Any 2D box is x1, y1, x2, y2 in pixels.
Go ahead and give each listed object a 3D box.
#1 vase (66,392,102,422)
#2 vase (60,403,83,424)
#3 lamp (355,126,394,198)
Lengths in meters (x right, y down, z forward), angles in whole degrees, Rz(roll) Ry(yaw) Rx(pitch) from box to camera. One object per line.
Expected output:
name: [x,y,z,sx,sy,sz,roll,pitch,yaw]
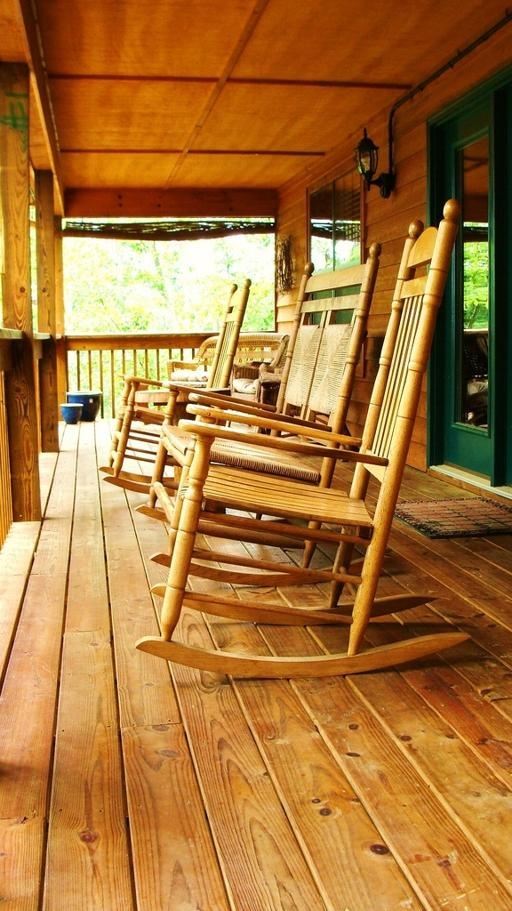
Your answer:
vase: [-2.069,-0.591,7.526,0.343,0.281,0.360,0,1,-4]
vase: [-2.168,-0.502,7.333,0.227,0.198,0.232,3,9,8]
lamp: [0.863,-2.147,4.530,0.238,0.531,0.211,7,29,25]
